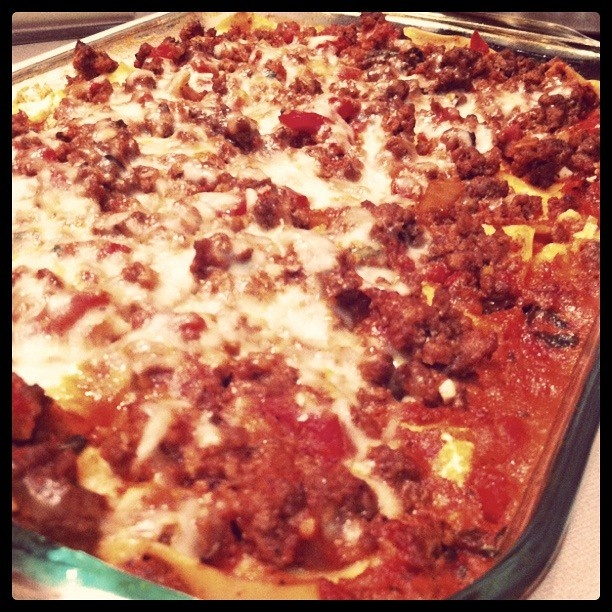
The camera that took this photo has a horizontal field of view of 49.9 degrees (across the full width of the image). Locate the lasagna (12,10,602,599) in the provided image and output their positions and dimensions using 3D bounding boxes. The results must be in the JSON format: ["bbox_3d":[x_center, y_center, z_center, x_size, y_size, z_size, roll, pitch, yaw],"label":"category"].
[{"bbox_3d":[0.024,0.062,4.341,2.204,0.486,3.425,4,45,8],"label":"lasagna"}]
